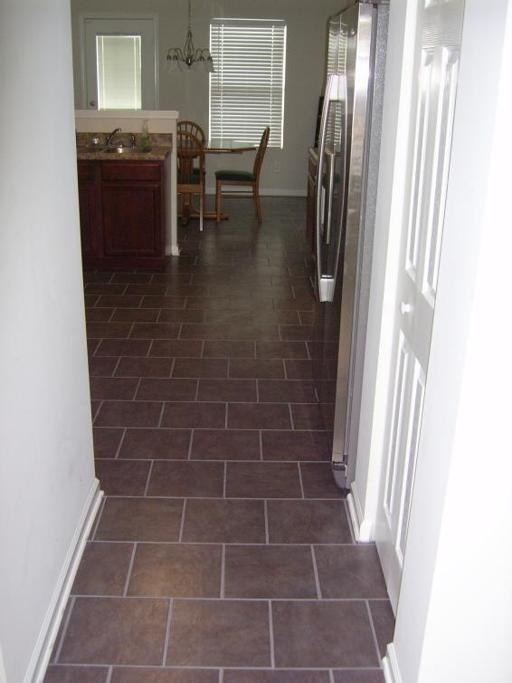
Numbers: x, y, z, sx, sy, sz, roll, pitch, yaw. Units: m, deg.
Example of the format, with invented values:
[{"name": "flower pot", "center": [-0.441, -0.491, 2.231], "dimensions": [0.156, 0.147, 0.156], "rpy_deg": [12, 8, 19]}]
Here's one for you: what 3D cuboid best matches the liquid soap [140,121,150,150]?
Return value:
[{"name": "liquid soap", "center": [-1.101, -2.037, 5.029], "dimensions": [0.114, 0.307, 0.445], "rpy_deg": [-2, 16, -12]}]
